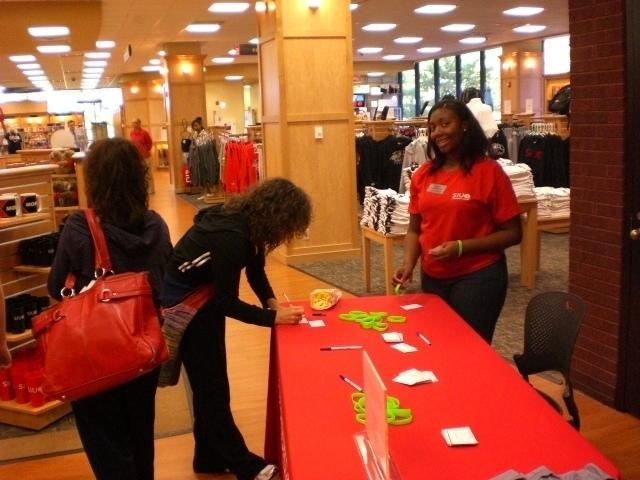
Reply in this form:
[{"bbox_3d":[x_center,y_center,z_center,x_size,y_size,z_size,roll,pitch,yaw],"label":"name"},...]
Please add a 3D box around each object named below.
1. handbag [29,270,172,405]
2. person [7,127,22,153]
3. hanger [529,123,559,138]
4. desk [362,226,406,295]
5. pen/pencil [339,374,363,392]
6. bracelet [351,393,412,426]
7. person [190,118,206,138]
[{"bbox_3d":[-0.864,0.368,1.739,0.507,0.431,0.185,-19,-10,6],"label":"handbag"},{"bbox_3d":[-6.402,-2.046,9.415,0.255,0.466,1.338,-10,15,-32],"label":"person"},{"bbox_3d":[4.076,-2.061,8.359,0.617,0.188,0.434,-3,20,-6],"label":"hanger"},{"bbox_3d":[0.641,0.159,5.038,0.499,0.520,0.502,4,-18,-42],"label":"desk"},{"bbox_3d":[0.114,0.519,1.630,0.025,0.011,0.152,-19,14,-16],"label":"pen/pencil"},{"bbox_3d":[0.203,0.541,1.423,0.137,0.038,0.219,0,7,-3],"label":"bracelet"},{"bbox_3d":[-3.432,-3.185,12.743,0.327,0.531,0.708,-5,13,-17],"label":"person"}]
